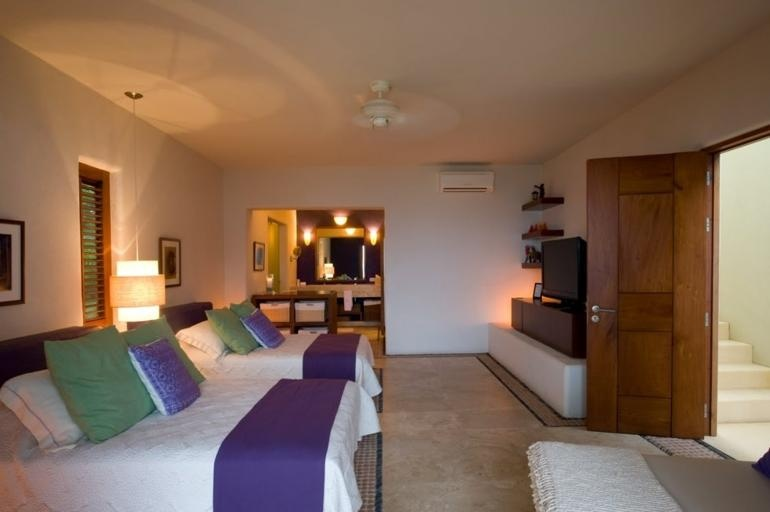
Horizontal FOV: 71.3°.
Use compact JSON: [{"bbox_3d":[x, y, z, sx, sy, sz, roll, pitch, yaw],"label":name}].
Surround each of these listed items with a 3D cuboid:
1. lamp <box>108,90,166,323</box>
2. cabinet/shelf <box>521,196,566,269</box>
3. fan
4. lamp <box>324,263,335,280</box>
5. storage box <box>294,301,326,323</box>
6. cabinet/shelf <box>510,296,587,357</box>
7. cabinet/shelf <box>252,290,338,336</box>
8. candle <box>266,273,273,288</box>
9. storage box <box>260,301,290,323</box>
[{"bbox_3d":[-2.625,-0.433,5.493,0.541,2.449,0.833,-8,12,-27],"label":"lamp"},{"bbox_3d":[2.202,-0.321,7.398,0.341,1.014,1.061,0,-2,-5],"label":"cabinet/shelf"},{"bbox_3d":[-0.059,-1.620,5.744,1.047,0.370,1.073,-8,-4,41],"label":"fan"},{"bbox_3d":[-1.214,0.331,11.692,0.288,0.406,0.284,1,-7,-16],"label":"lamp"},{"bbox_3d":[-1.164,0.871,8.426,0.352,0.222,0.357,0,-1,1],"label":"storage box"},{"bbox_3d":[2.075,0.842,6.503,0.294,0.492,1.548,-3,3,-7],"label":"cabinet/shelf"},{"bbox_3d":[-1.456,1.025,8.615,1.293,0.805,0.672,-2,-2,-2],"label":"cabinet/shelf"},{"bbox_3d":[-1.923,0.438,8.905,0.103,0.261,0.140,-2,11,-1],"label":"candle"},{"bbox_3d":[-1.671,0.860,8.250,0.334,0.207,0.337,0,-2,-2],"label":"storage box"}]
